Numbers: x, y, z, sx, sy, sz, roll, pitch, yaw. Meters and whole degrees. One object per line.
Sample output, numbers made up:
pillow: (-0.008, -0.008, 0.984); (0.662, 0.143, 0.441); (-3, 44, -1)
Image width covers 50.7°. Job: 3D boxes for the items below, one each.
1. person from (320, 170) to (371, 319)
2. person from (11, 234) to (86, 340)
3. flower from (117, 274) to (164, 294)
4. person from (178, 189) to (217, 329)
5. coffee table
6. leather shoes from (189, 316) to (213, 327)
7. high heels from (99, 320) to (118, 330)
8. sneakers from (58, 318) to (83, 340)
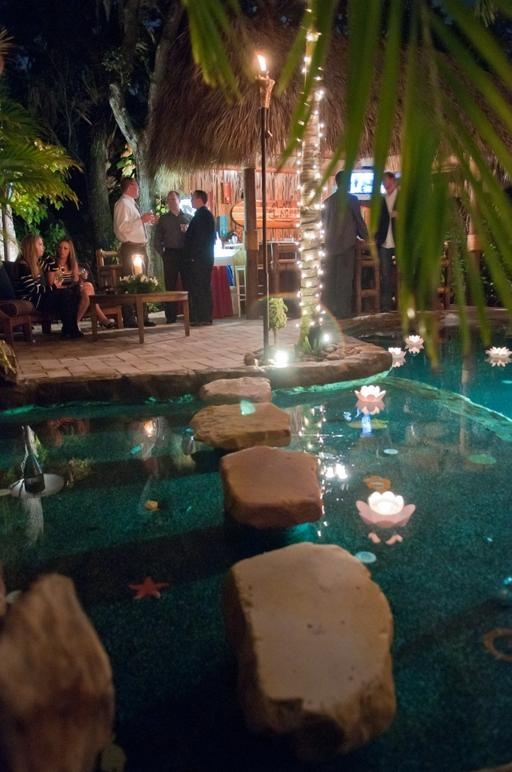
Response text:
person: (1.391, -2.061, 8.509); (0.646, 1.963, 1.299); (0, 12, 4)
person: (-3.172, -1.534, 8.277); (0.872, 1.535, 0.929); (-5, 13, -18)
flower: (-1.587, -1.372, 7.268); (0.340, 0.198, 0.347); (6, 11, 31)
person: (-0.925, -2.076, 8.966); (0.482, 2.157, 0.768); (-3, 12, -6)
coffee table: (-1.910, -1.075, 7.969); (1.412, 0.689, 2.020); (-12, 16, -39)
leather shoes: (-0.951, -1.127, 9.383); (0.409, 0.181, 0.152); (-1, 6, 18)
high heels: (-2.597, -1.085, 9.447); (0.357, 0.148, 0.194); (1, 7, 15)
sneakers: (-2.850, -0.871, 8.314); (0.415, 0.279, 0.241); (7, 12, 37)
